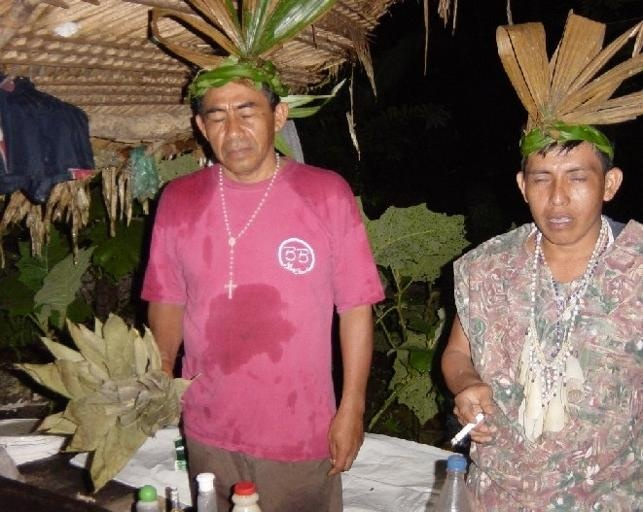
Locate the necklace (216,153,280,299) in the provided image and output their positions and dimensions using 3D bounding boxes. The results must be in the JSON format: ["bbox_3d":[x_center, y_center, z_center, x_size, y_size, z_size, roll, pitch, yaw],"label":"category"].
[{"bbox_3d":[-0.345,-0.104,2.304,0.221,0.579,0.024,-1,-19,10],"label":"necklace"}]

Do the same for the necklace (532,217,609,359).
[{"bbox_3d":[0.872,0.124,2.166,0.297,0.470,0.511,2,-14,22],"label":"necklace"}]
